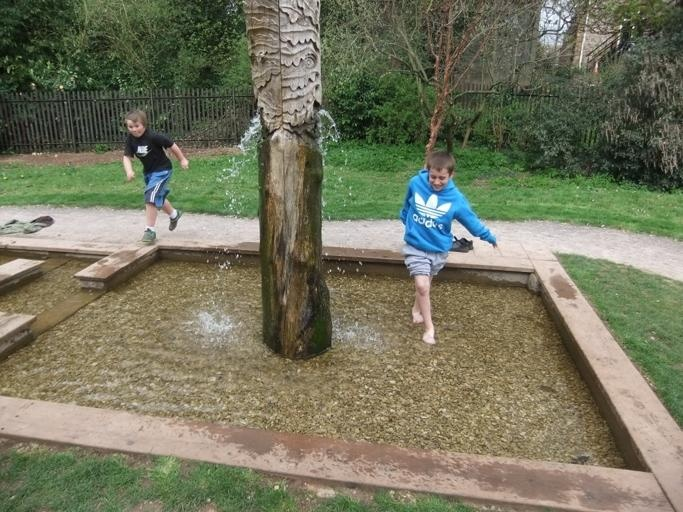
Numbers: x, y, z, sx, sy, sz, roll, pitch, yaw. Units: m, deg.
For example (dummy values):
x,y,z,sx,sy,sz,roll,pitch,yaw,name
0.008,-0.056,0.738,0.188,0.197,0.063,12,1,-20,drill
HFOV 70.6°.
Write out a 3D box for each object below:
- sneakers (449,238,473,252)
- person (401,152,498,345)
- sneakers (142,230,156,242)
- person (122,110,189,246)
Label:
x,y,z,sx,sy,sz,roll,pitch,yaw,name
1.226,-0.113,5.035,0.186,0.085,0.191,-3,4,-19,sneakers
0.893,-0.108,4.613,0.715,1.746,0.633,9,19,24,person
-2.523,-0.261,6.298,0.160,0.148,0.182,-4,19,-17,sneakers
-2.518,-1.036,6.436,0.798,1.744,0.846,-12,22,-38,person
